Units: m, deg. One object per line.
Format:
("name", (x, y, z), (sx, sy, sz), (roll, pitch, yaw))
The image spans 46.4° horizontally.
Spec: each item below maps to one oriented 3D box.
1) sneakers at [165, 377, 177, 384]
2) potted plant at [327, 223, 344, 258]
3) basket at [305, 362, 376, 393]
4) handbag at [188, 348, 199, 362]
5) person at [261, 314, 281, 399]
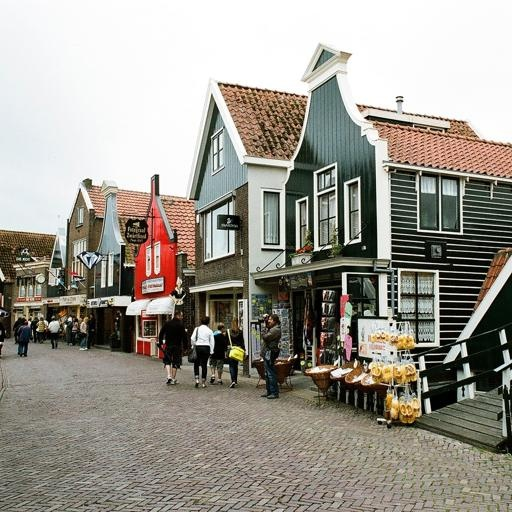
("sneakers", (-2.195, 3.261, 15.680), (0.344, 0.198, 0.141), (-1, 1, -21))
("potted plant", (2.123, -0.437, 15.994), (0.363, 0.956, 1.088), (-1, -4, 8))
("basket", (1.653, 2.427, 11.956), (0.903, 0.633, 1.459), (3, -6, -40))
("handbag", (-1.582, 2.464, 15.158), (0.225, 0.587, 0.382), (-1, -3, -10))
("person", (0.343, 2.218, 13.379), (0.419, 1.818, 0.746), (0, -4, 0))
